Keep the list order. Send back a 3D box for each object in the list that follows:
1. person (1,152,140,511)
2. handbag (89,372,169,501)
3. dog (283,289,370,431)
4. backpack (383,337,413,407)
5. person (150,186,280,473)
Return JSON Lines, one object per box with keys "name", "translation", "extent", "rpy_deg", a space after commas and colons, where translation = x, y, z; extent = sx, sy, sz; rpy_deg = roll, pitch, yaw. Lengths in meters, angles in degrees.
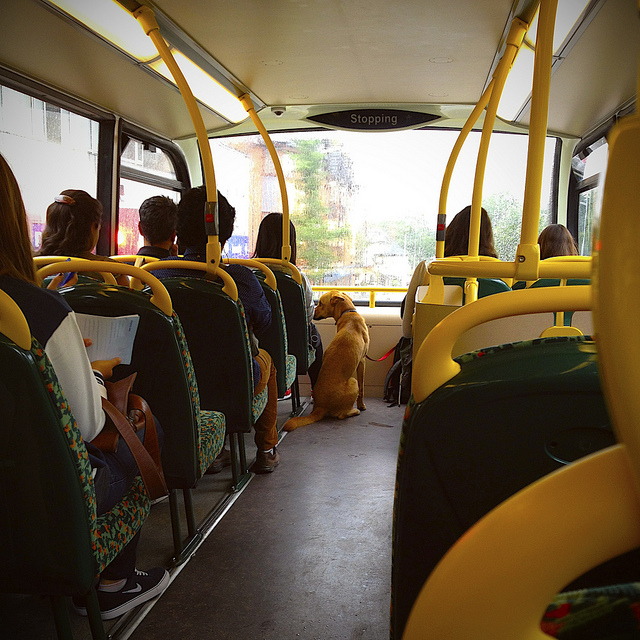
{"name": "person", "translation": [-0.581, 0.069, 1.153], "extent": [0.153, 0.815, 0.470], "rpy_deg": [1, 5, 5]}
{"name": "handbag", "translation": [-0.503, 0.335, 1.397], "extent": [0.094, 0.303, 0.282], "rpy_deg": [-24, 28, -26]}
{"name": "dog", "translation": [0.083, 0.264, 3.786], "extent": [0.559, 0.940, 0.967], "rpy_deg": [2, 5, 6]}
{"name": "backpack", "translation": [0.566, 0.403, 3.947], "extent": [0.228, 0.378, 0.337], "rpy_deg": [11, 7, -34]}
{"name": "person", "translation": [-0.488, 0.115, 2.582], "extent": [0.522, 1.650, 0.740], "rpy_deg": [7, 20, 19]}
